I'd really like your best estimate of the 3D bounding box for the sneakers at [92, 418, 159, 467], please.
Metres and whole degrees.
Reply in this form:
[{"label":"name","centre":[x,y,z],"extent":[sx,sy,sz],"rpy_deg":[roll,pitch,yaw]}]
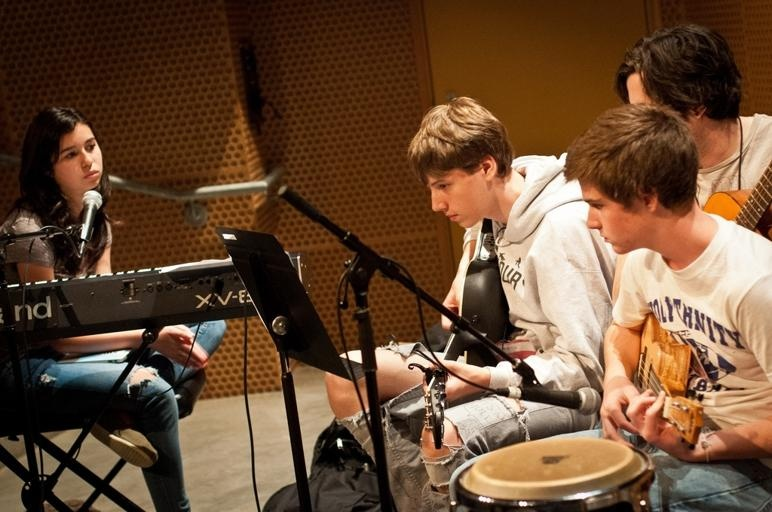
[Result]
[{"label":"sneakers","centre":[-1.184,0.876,3.178],"extent":[0.281,0.241,0.163],"rpy_deg":[-9,0,35]}]
